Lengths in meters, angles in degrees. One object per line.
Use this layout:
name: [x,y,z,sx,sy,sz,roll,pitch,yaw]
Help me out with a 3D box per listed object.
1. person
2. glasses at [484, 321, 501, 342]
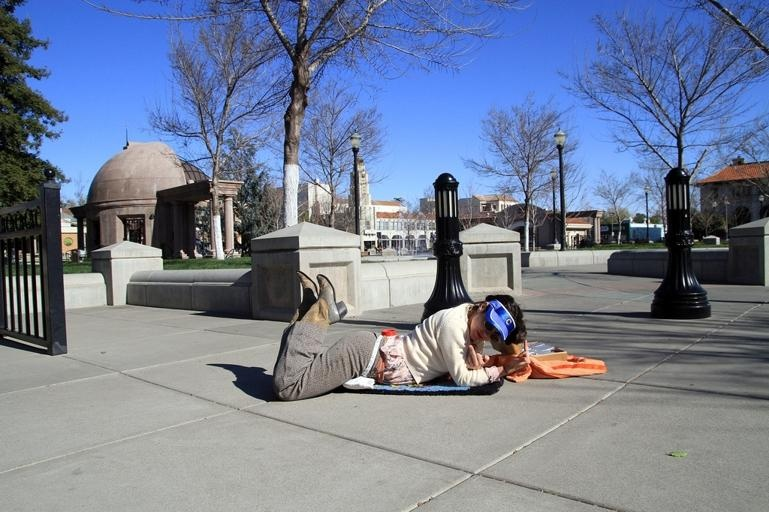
person: [0.116,0.833,6.098,2.476,1.439,1.078,1,-14,3]
glasses: [1.006,0.720,5.473,0.072,0.149,0.193,-41,-6,4]
